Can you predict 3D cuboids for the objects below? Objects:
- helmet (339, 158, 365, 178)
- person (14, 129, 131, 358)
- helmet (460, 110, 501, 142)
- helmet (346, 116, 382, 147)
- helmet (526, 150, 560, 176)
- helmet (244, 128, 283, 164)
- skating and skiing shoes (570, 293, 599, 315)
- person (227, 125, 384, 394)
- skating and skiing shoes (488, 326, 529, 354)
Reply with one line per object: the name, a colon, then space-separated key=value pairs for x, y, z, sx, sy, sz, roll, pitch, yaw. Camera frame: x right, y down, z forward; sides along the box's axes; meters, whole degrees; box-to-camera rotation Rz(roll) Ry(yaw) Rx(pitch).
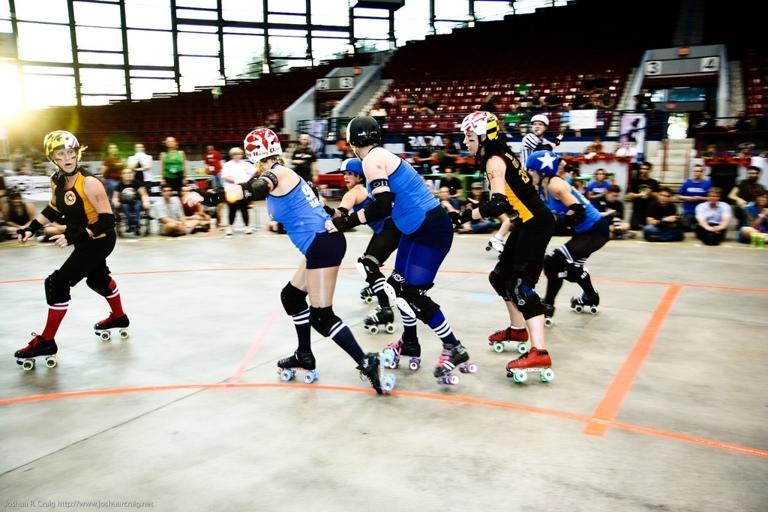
helmet: x=-0.430 y=-1.162 z=7.895 sx=0.418 sy=0.177 sz=0.257 roll=5 pitch=11 yaw=-11
person: x=-3.704 y=-0.150 z=7.006 sx=1.101 sy=2.580 sz=1.054 roll=-9 pitch=16 yaw=-20
helmet: x=1.073 y=-1.398 z=6.394 sx=0.449 sy=0.295 sz=0.277 roll=-10 pitch=30 yaw=2
helmet: x=-0.209 y=-1.256 z=6.035 sx=0.327 sy=0.323 sz=0.347 roll=-3 pitch=21 yaw=-9
helmet: x=1.853 y=-1.101 z=7.008 sx=0.407 sy=0.256 sz=0.252 roll=-4 pitch=32 yaw=8
helmet: x=-1.245 y=-1.130 z=6.100 sx=0.334 sy=0.355 sz=0.318 roll=-6 pitch=14 yaw=-12
skating and skiing shoes: x=2.794 y=0.665 z=8.331 sx=0.403 sy=0.220 sz=0.234 roll=4 pitch=7 yaw=19
person: x=-0.742 y=0.028 z=6.164 sx=1.218 sy=2.702 sz=1.057 roll=-3 pitch=15 yaw=0
skating and skiing shoes: x=1.472 y=0.992 z=7.074 sx=0.482 sy=0.240 sz=0.278 roll=1 pitch=-2 yaw=10
